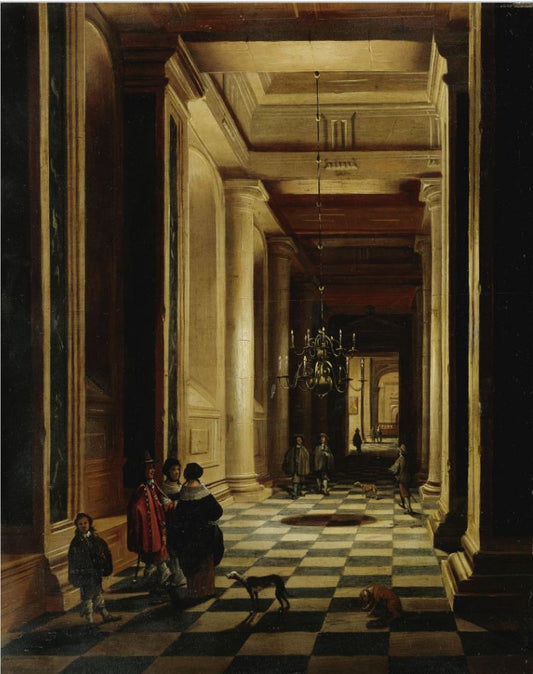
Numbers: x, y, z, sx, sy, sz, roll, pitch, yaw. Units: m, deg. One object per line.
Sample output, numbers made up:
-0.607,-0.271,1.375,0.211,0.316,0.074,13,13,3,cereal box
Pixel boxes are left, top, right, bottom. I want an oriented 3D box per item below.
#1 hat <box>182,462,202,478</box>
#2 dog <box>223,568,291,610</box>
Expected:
-0.527,0.939,6.069,0.106,0.128,0.127,3,3,18,hat
-0.049,1.667,5.823,0.402,0.243,0.657,0,-6,0,dog
